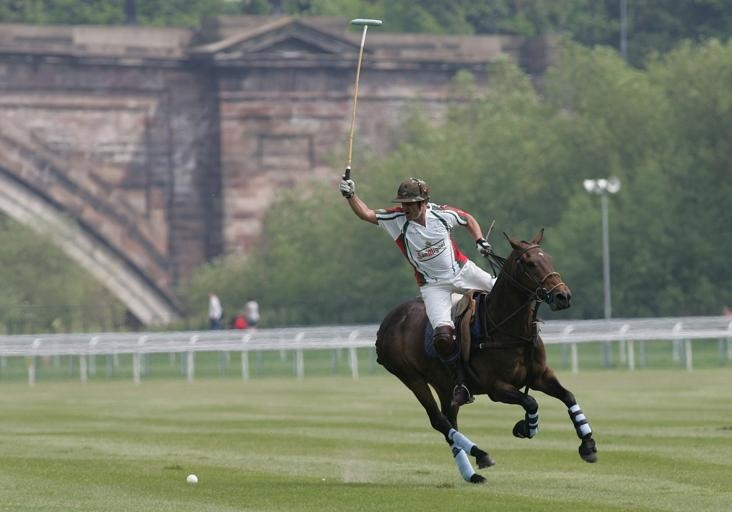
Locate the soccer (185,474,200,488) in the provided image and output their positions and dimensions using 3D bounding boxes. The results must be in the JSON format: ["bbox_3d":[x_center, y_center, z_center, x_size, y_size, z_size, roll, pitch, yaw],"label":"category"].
[{"bbox_3d":[-3.622,4.614,45.736,0.221,0.219,0.212,-18,37,34],"label":"soccer"}]

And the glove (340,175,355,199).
[{"bbox_3d":[-0.370,-1.447,45.474,0.273,0.442,0.379,-8,10,-1],"label":"glove"}]

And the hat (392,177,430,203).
[{"bbox_3d":[0.965,-1.405,45.315,0.578,0.304,0.541,5,9,41],"label":"hat"}]

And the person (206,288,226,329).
[{"bbox_3d":[-3.892,1.375,56.552,0.444,0.821,0.786,-8,10,-4],"label":"person"}]

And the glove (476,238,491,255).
[{"bbox_3d":[2.531,-0.242,45.510,0.177,0.332,0.249,-23,-17,-42],"label":"glove"}]
